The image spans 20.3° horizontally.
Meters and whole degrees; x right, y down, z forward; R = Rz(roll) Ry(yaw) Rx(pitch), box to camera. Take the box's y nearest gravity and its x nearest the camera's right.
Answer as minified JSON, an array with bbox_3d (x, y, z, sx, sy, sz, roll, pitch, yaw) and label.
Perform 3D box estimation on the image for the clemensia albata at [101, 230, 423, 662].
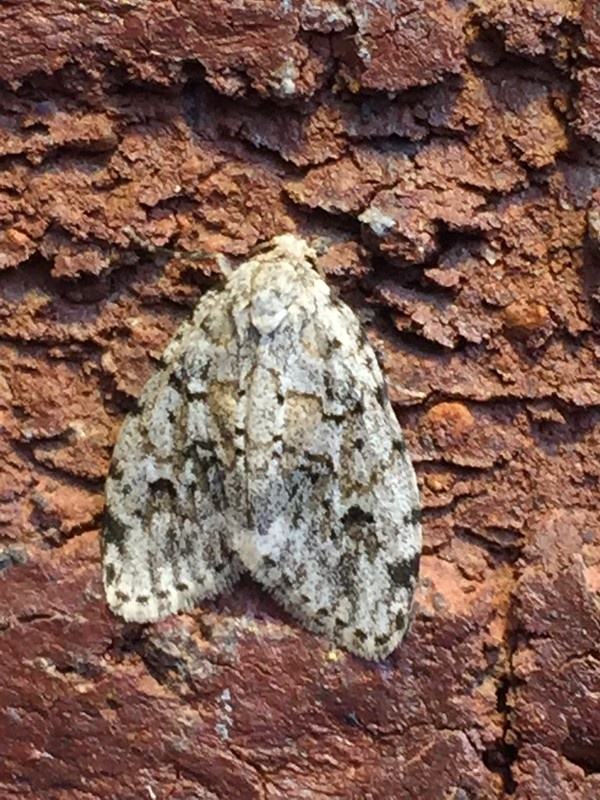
[{"bbox_3d":[-0.033,0.043,3.640,0.604,0.844,0.255,6,8,4],"label":"clemensia albata"}]
